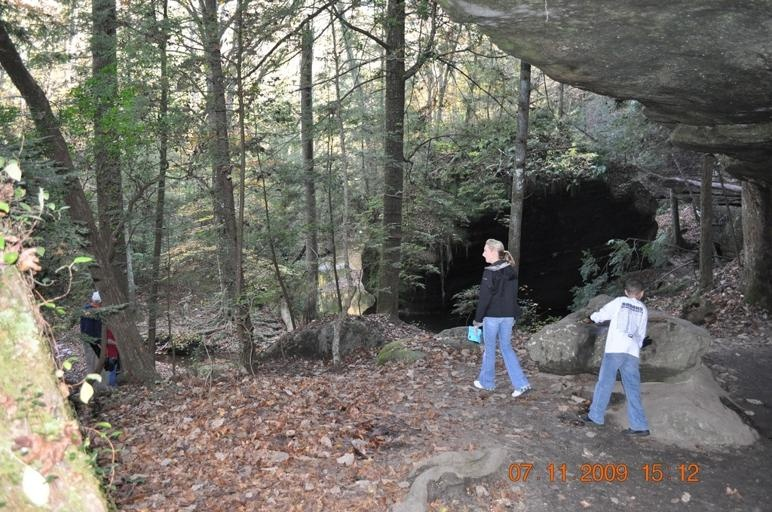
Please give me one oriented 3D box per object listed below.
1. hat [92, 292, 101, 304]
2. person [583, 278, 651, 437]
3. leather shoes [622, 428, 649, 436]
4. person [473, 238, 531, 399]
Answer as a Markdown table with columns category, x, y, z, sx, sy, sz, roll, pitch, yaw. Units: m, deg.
| category | x | y | z | sx | sy | sz | roll | pitch | yaw |
| --- | --- | --- | --- | --- | --- | --- | --- | --- | --- |
| hat | -6.508 | 0.934 | 13.936 | 0.138 | 0.303 | 0.416 | -9 | 8 | -33 |
| person | 4.149 | 1.793 | 11.137 | 1.050 | 2.709 | 0.565 | -2 | 7 | 13 |
| leather shoes | 4.434 | 3.129 | 11.057 | 0.414 | 0.176 | 0.156 | 4 | 2 | 10 |
| person | 2.201 | 1.164 | 12.181 | 1.009 | 3.004 | 1.151 | -3 | 7 | 9 |
